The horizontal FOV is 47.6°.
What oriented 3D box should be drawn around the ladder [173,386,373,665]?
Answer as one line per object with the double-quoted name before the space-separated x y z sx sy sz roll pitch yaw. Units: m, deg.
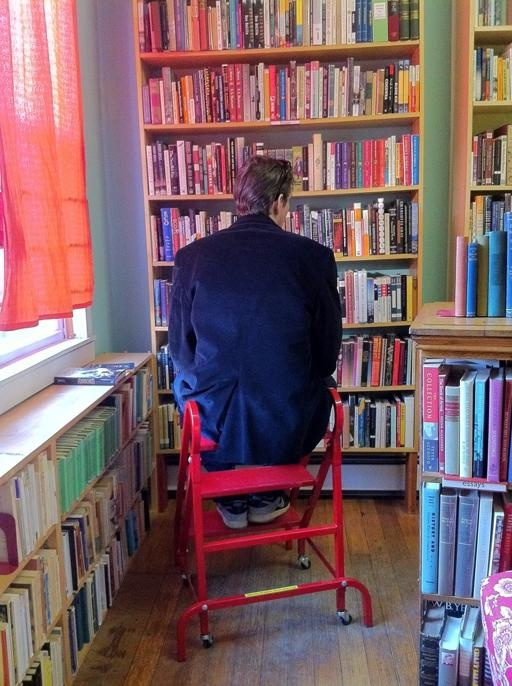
"ladder" -0.015 0.601 2.118 0.723 1.131 0.792 -1 0 -5
